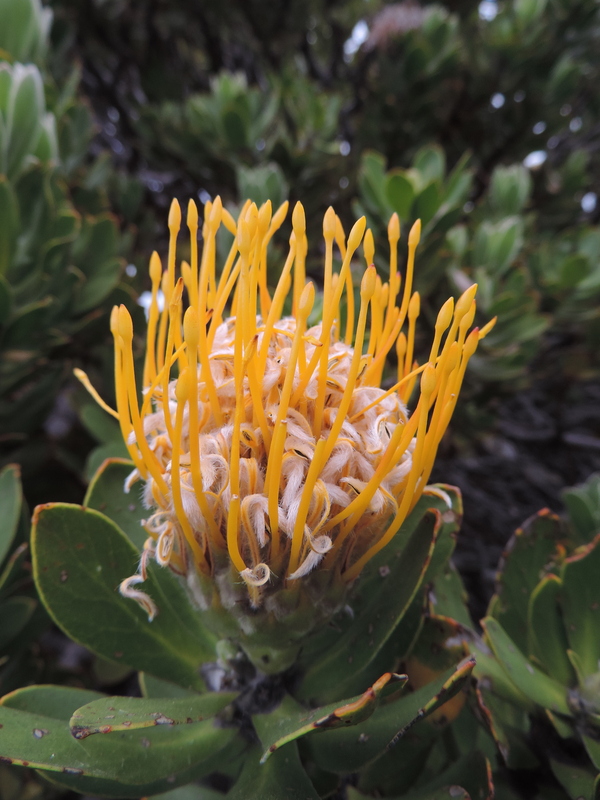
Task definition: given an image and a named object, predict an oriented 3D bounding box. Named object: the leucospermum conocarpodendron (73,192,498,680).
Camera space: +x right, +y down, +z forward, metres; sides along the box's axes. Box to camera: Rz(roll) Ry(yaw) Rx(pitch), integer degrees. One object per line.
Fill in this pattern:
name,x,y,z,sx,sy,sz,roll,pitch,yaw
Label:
leucospermum conocarpodendron,-0.025,0.032,0.760,0.342,0.450,0.279,25,21,11
